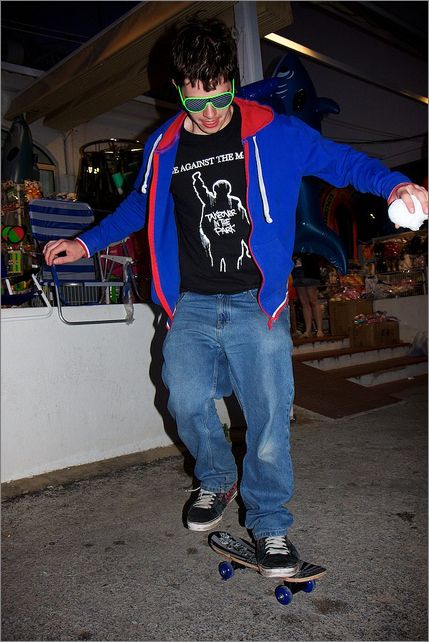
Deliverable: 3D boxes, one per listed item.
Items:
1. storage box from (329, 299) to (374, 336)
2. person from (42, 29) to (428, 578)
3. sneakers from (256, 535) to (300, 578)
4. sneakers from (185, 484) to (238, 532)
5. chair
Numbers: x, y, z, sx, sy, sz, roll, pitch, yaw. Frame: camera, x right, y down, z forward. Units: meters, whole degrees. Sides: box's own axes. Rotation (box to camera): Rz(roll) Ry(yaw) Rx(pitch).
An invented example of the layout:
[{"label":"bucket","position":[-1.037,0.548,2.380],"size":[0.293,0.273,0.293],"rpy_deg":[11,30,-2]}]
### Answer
[{"label":"storage box","position":[2.192,-0.076,7.754],"size":[0.646,0.608,0.613],"rpy_deg":[-1,0,-28]},{"label":"person","position":[0.073,-0.013,1.630],"size":[1.208,1.644,0.336],"rpy_deg":[-4,-1,33]},{"label":"sneakers","position":[0.186,0.705,1.444],"size":[0.130,0.109,0.124],"rpy_deg":[-3,0,5]},{"label":"sneakers","position":[-0.007,0.674,1.783],"size":[0.093,0.109,0.277],"rpy_deg":[-2,-1,17]},{"label":"chair","position":[-0.975,-0.453,3.432],"size":[0.630,0.941,0.745],"rpy_deg":[-2,4,-29]}]
